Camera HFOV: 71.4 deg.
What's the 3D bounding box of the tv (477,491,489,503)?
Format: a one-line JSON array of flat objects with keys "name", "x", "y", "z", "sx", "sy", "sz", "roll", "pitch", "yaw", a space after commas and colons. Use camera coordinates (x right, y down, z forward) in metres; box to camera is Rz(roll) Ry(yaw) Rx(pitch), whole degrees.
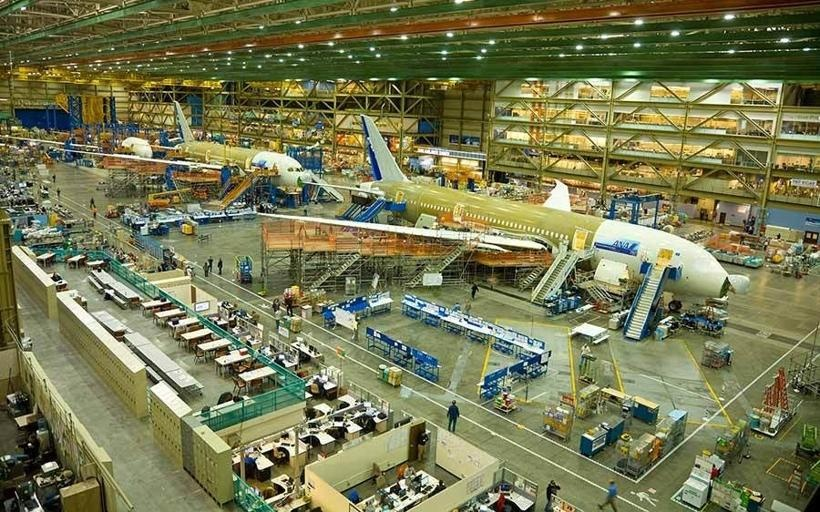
[{"name": "tv", "x": 4.594, "y": 14.893, "z": 35.345, "sx": 0.881, "sy": 0.352, "sz": 0.440, "roll": -11, "pitch": 20, "yaw": -38}]
